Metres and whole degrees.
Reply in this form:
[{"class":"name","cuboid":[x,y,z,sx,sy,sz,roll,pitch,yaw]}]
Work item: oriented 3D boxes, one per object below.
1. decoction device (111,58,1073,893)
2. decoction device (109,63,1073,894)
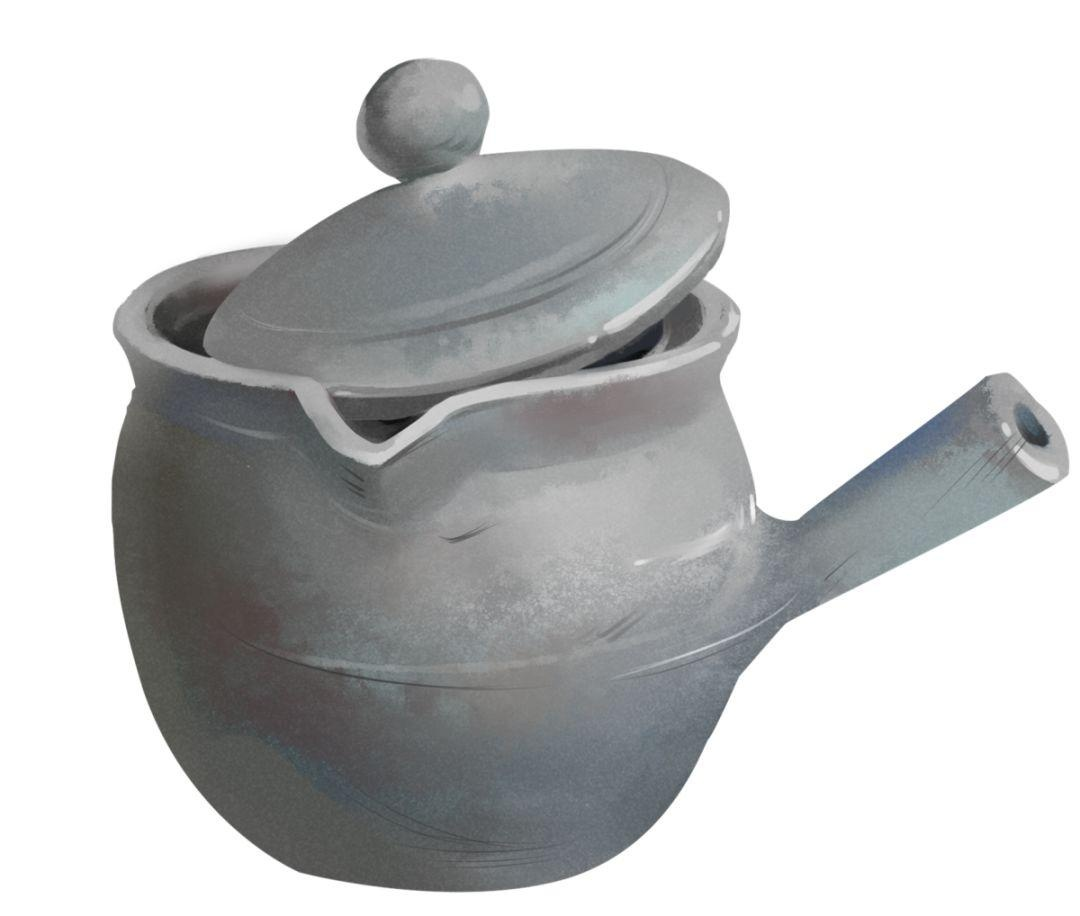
[{"class":"decoction device","cuboid":[0.101,0.060,2.066,1.234,0.855,0.732,5,14,24]},{"class":"decoction device","cuboid":[-0.007,0.102,2.084,1.169,0.764,0.670,1,4,7]}]
